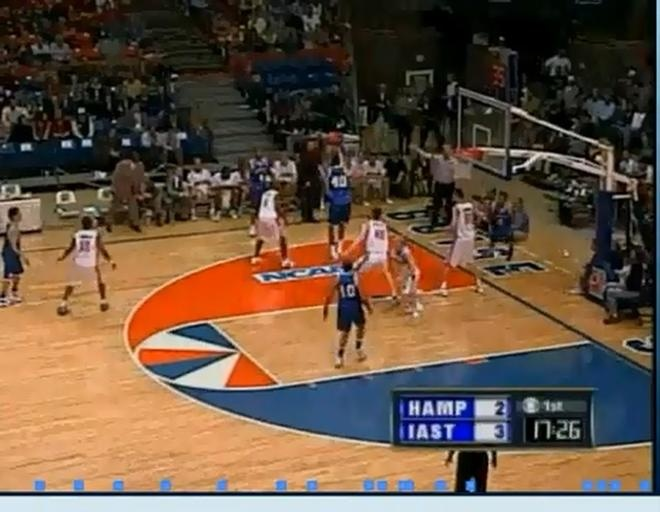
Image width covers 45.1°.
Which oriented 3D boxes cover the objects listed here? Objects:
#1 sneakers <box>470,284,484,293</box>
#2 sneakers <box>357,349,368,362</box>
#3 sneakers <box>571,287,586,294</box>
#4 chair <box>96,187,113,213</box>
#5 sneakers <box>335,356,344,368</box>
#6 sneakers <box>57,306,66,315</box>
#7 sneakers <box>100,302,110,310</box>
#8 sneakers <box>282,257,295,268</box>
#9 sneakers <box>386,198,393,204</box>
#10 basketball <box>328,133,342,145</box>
[{"bbox_3d":[2.626,0.580,14.090,0.119,0.073,0.170,7,14,24],"label":"sneakers"},{"bbox_3d":[0.478,1.504,12.022,0.096,0.110,0.180,-12,-38,-7],"label":"sneakers"},{"bbox_3d":[4.322,0.596,13.949,0.269,0.097,0.237,0,5,23],"label":"sneakers"},{"bbox_3d":[-5.111,-1.290,18.024,0.323,0.555,1.096,-3,5,-17],"label":"chair"},{"bbox_3d":[0.144,1.564,11.765,0.094,0.097,0.177,-1,-32,-2],"label":"sneakers"},{"bbox_3d":[-4.544,0.926,13.504,0.142,0.085,0.144,16,27,29],"label":"sneakers"},{"bbox_3d":[-3.869,0.864,13.733,0.141,0.153,0.288,-3,5,-11],"label":"sneakers"},{"bbox_3d":[-0.775,0.105,15.057,0.273,0.192,0.117,-9,32,-16],"label":"sneakers"},{"bbox_3d":[1.375,-1.281,18.489,0.070,0.090,0.205,-14,22,-11],"label":"sneakers"},{"bbox_3d":[0.099,-2.479,16.847,0.308,0.264,0.338,-2,5,-1],"label":"basketball"}]
